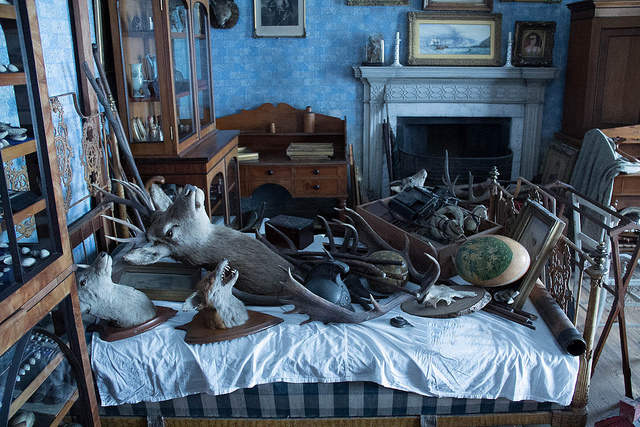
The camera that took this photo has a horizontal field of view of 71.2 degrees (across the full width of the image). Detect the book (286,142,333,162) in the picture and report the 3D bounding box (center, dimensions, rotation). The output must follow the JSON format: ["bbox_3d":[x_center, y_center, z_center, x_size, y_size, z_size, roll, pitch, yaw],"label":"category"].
[{"bbox_3d":[-0.095,-0.608,4.479,0.449,0.148,0.275,1,14,6],"label":"book"}]

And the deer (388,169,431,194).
[{"bbox_3d":[0.642,-0.233,3.154,0.205,0.104,0.177,-15,13,-8],"label":"deer"}]

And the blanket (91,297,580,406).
[{"bbox_3d":[0.074,0.710,2.170,2.225,0.359,0.292,0,14,0],"label":"blanket"}]

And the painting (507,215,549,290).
[{"bbox_3d":[1.118,0.184,2.371,0.201,0.374,0.028,26,5,-35],"label":"painting"}]

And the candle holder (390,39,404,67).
[{"bbox_3d":[0.801,-1.638,4.561,0.127,0.284,0.236,2,14,10],"label":"candle holder"}]

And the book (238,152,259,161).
[{"bbox_3d":[-0.702,-0.562,4.398,0.184,0.073,0.065,-5,15,-18],"label":"book"}]

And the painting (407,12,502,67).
[{"bbox_3d":[1.396,-1.778,4.690,0.947,0.532,0.122,5,15,7],"label":"painting"}]

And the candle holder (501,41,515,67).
[{"bbox_3d":[1.933,-1.618,4.537,0.076,0.251,0.101,5,15,22],"label":"candle holder"}]

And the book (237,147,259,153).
[{"bbox_3d":[-0.740,-0.629,4.450,0.166,0.036,0.195,-8,16,-28],"label":"book"}]
